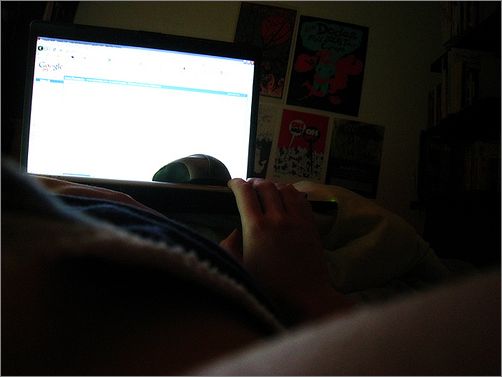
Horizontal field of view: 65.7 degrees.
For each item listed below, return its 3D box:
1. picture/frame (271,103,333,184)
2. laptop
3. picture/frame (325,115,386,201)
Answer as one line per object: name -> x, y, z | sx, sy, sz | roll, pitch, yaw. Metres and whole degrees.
picture/frame -> 0.217, -0.177, 1.614 | 0.239, 0.347, 0.035 | 13, 0, 4
laptop -> -0.230, -0.154, 0.832 | 0.511, 0.382, 0.372 | 6, 2, -20
picture/frame -> 0.404, -0.118, 1.533 | 0.248, 0.379, 0.038 | 13, -11, -4
